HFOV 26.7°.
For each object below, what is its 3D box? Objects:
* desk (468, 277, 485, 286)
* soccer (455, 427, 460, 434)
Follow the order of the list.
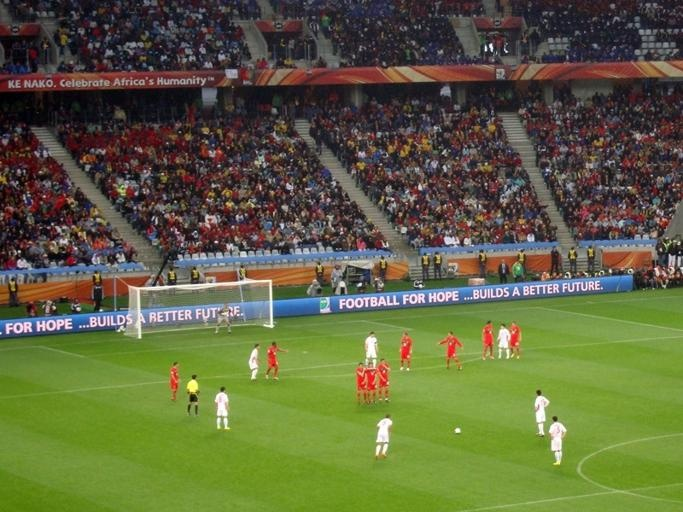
[{"bbox_3d":[8.593,1.609,90.183,0.587,0.421,0.574,-2,3,-41],"label":"desk"},{"bbox_3d":[5.247,7.896,64.733,0.192,0.142,0.189,-3,15,4],"label":"soccer"}]
